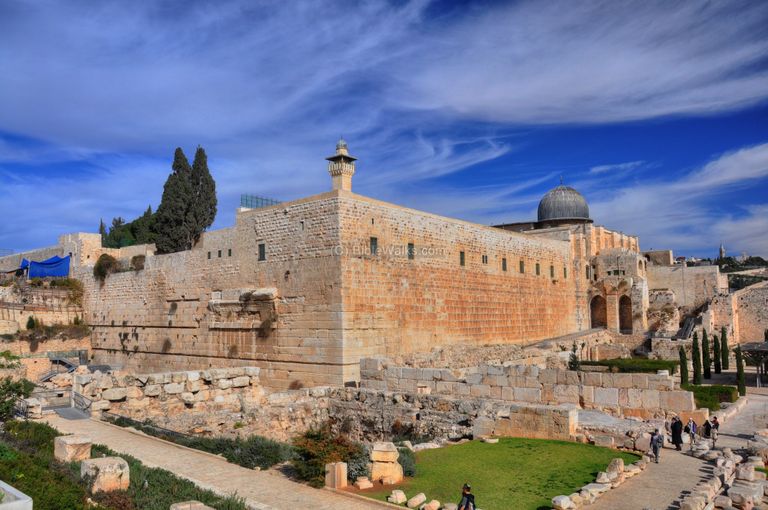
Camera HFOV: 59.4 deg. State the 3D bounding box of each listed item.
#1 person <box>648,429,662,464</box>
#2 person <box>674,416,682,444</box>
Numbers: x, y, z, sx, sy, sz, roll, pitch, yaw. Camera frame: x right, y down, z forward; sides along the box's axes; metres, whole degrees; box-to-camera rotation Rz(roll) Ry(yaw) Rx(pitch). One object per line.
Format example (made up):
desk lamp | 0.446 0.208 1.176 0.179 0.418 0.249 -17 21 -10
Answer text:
person | 9.033 6.274 22.320 0.427 0.967 1.073 -4 -8 21
person | 9.963 5.972 22.931 0.301 0.928 0.300 -4 -8 17
